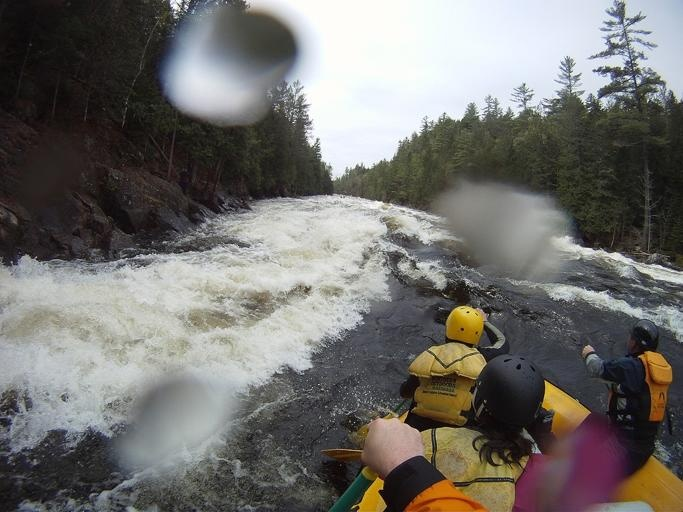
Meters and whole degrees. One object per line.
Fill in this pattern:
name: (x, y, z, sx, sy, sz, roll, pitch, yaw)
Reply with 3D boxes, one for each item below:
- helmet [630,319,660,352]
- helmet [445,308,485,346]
helmet: (4.634, 1.206, 6.744, 0.336, 0.252, 0.476, 2, 44, 27)
helmet: (1.850, 1.074, 6.409, 0.445, 0.558, 0.595, 8, 7, 5)
